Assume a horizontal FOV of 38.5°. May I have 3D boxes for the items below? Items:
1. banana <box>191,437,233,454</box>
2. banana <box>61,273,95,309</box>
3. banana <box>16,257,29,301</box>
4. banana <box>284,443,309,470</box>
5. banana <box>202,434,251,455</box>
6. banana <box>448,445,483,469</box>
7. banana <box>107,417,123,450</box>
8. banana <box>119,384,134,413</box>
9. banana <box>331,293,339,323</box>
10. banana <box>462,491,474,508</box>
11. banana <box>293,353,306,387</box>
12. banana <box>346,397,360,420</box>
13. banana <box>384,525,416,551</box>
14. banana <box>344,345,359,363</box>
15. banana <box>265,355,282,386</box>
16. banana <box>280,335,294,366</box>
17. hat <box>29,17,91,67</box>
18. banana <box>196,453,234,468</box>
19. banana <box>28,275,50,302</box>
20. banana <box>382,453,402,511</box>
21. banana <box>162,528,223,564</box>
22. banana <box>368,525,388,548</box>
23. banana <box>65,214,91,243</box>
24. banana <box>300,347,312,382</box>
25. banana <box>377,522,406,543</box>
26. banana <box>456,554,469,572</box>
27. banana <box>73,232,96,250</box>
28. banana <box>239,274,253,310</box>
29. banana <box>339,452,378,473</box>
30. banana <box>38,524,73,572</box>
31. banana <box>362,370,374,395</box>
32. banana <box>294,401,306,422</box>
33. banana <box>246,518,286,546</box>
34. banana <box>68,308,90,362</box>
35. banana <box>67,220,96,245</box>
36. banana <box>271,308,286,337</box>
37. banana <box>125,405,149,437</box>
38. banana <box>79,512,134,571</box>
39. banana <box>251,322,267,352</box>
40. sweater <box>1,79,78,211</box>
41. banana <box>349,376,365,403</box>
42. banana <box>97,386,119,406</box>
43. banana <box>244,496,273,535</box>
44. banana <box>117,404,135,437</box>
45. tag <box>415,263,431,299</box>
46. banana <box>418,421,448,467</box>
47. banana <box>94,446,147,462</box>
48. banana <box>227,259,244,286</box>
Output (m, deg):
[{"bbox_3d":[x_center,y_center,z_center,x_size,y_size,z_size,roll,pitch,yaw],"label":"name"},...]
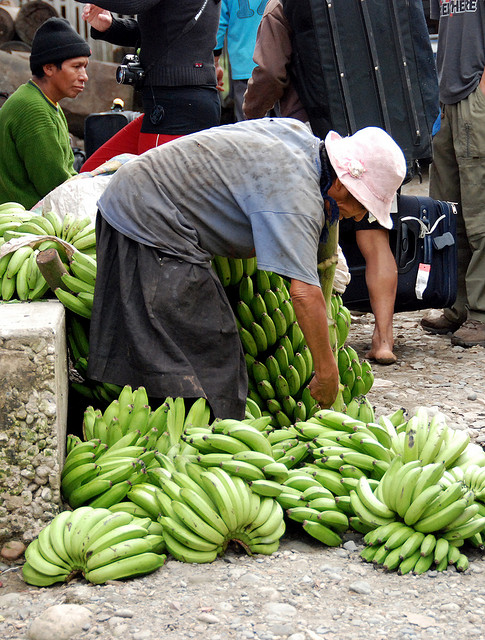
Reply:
[{"bbox_3d":[-0.088,0.384,2.135,0.093,0.021,0.033,28,3,-2],"label":"banana"},{"bbox_3d":[-0.628,-0.105,2.649,0.042,0.150,0.052,-39,12,37],"label":"banana"},{"bbox_3d":[-0.810,-0.148,2.611,0.042,0.143,0.049,-13,-26,16],"label":"banana"},{"bbox_3d":[0.188,0.460,2.344,0.037,0.114,0.041,38,43,-5],"label":"banana"},{"bbox_3d":[-0.048,0.376,2.110,0.193,0.050,0.063,10,-6,0],"label":"banana"},{"bbox_3d":[0.757,0.462,2.361,0.103,0.027,0.062,-24,-3,-37],"label":"banana"},{"bbox_3d":[-0.430,0.379,2.334,0.034,0.111,0.042,20,6,38],"label":"banana"},{"bbox_3d":[-0.398,0.269,2.381,0.033,0.095,0.033,1,-6,-36],"label":"banana"},{"bbox_3d":[0.435,-0.058,3.318,0.031,0.108,0.037,-6,-11,-17],"label":"banana"},{"bbox_3d":[0.635,0.505,1.956,0.027,0.041,0.016,23,-24,-18],"label":"banana"},{"bbox_3d":[0.256,0.211,2.962,0.052,0.141,0.041,-12,11,12],"label":"banana"},{"bbox_3d":[0.441,0.353,2.773,0.029,0.035,0.101,-5,38,23],"label":"banana"},{"bbox_3d":[0.441,0.610,1.945,0.130,0.035,0.042,-29,-1,-45],"label":"banana"},{"bbox_3d":[0.540,0.172,3.447,0.032,0.092,0.061,-24,-5,16],"label":"banana"},{"bbox_3d":[0.139,0.219,2.953,0.045,0.146,0.051,3,38,17],"label":"banana"},{"bbox_3d":[0.195,0.130,3.022,0.051,0.138,0.038,-15,-3,-41],"label":"banana"},{"bbox_3d":[-1.141,-1.776,4.416,0.450,0.289,0.335,-1,17,10],"label":"hat"},{"bbox_3d":[-0.089,0.419,2.088,0.137,0.037,0.048,-2,15,19],"label":"banana"},{"bbox_3d":[-0.768,-0.119,2.684,0.039,0.128,0.052,40,-30,-27],"label":"banana"},{"bbox_3d":[0.449,0.469,2.039,0.067,0.179,0.042,-2,-21,31],"label":"banana"},{"bbox_3d":[-0.147,0.657,1.962,0.118,0.042,0.100,23,29,-1],"label":"banana"},{"bbox_3d":[0.378,0.617,1.978,0.033,0.088,0.024,6,33,-37],"label":"banana"},{"bbox_3d":[-0.729,-0.417,3.152,0.054,0.065,0.185,7,35,18],"label":"banana"},{"bbox_3d":[0.285,0.189,2.996,0.053,0.146,0.037,-1,14,45],"label":"banana"},{"bbox_3d":[0.428,0.595,1.978,0.032,0.038,0.118,-34,-3,34],"label":"banana"},{"bbox_3d":[0.615,0.681,1.940,0.023,0.015,0.039,7,26,7],"label":"banana"},{"bbox_3d":[-0.682,-0.341,2.998,0.089,0.072,0.071,-1,6,-14],"label":"banana"},{"bbox_3d":[0.030,-0.120,3.036,0.045,0.157,0.057,-1,24,13],"label":"banana"},{"bbox_3d":[0.371,0.451,2.229,0.156,0.044,0.054,19,-15,-15],"label":"banana"},{"bbox_3d":[-0.508,0.628,1.913,0.035,0.087,0.102,-21,40,-5],"label":"banana"},{"bbox_3d":[0.588,0.288,3.252,0.046,0.123,0.038,2,4,36],"label":"banana"},{"bbox_3d":[0.240,0.386,2.936,0.062,0.089,0.057,3,6,26],"label":"banana"},{"bbox_3d":[0.069,0.621,2.024,0.084,0.066,0.022,-30,45,-26],"label":"banana"},{"bbox_3d":[-0.672,0.069,2.860,0.067,0.093,0.268,-15,37,-18],"label":"banana"},{"bbox_3d":[-0.705,-0.380,3.042,0.048,0.065,0.186,34,40,14],"label":"banana"},{"bbox_3d":[0.159,0.010,2.976,0.049,0.135,0.036,-9,34,12],"label":"banana"},{"bbox_3d":[-0.363,0.346,2.373,0.042,0.141,0.046,34,30,11],"label":"banana"},{"bbox_3d":[-0.359,0.605,1.953,0.057,0.071,0.206,29,31,11],"label":"banana"},{"bbox_3d":[0.073,0.072,2.971,0.053,0.146,0.040,-20,28,3],"label":"banana"},{"bbox_3d":[-1.281,-1.116,4.343,0.463,0.840,0.435,-1,6,-13],"label":"sweater"},{"bbox_3d":[0.513,0.315,3.200,0.037,0.139,0.051,30,37,19],"label":"banana"},{"bbox_3d":[-0.527,0.300,2.744,0.062,0.042,0.159,-31,-3,-8],"label":"banana"},{"bbox_3d":[0.063,0.570,2.023,0.025,0.091,0.071,34,-20,5],"label":"banana"},{"bbox_3d":[-0.393,0.332,2.352,0.034,0.119,0.043,9,1,-2],"label":"banana"},{"bbox_3d":[1.177,-0.258,4.550,0.087,0.230,0.046,2,6,13],"label":"tag"},{"bbox_3d":[0.591,0.379,2.155,0.050,0.063,0.187,32,48,6],"label":"banana"},{"bbox_3d":[-0.387,0.432,2.225,0.112,0.026,0.039,-13,4,11],"label":"banana"},{"bbox_3d":[-0.026,-0.212,2.955,0.052,0.143,0.030,-35,52,-29],"label":"banana"}]
